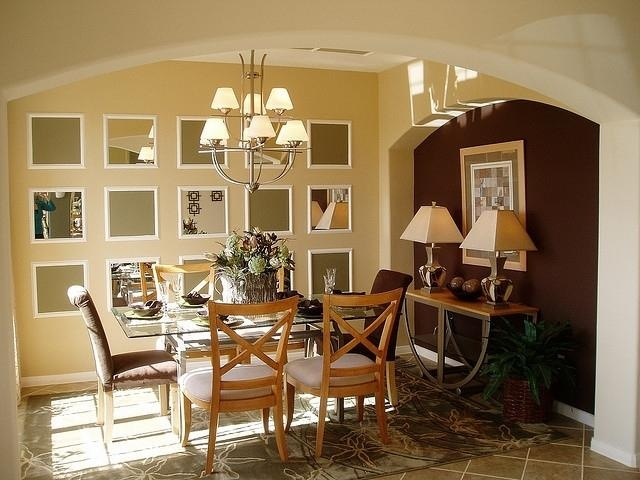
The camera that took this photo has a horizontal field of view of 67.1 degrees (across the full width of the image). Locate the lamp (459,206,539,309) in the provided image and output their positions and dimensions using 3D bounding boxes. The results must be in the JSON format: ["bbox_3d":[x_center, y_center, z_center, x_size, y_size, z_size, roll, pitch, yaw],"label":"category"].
[{"bbox_3d":[1.604,0.137,4.328,0.544,0.811,0.475,-2,6,-14],"label":"lamp"}]

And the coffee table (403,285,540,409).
[{"bbox_3d":[1.373,1.014,4.702,0.520,0.845,1.311,0,1,-21],"label":"coffee table"}]

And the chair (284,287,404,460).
[{"bbox_3d":[0.135,0.933,3.687,0.741,1.165,0.833,1,-2,-17],"label":"chair"}]

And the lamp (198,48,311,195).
[{"bbox_3d":[-0.522,-0.923,3.769,0.792,1.043,0.771,1,5,17],"label":"lamp"}]

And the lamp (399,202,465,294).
[{"bbox_3d":[1.154,0.087,5.034,0.700,0.868,0.731,2,1,32],"label":"lamp"}]

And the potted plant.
[{"bbox_3d":[1.709,1.062,4.140,0.799,0.704,0.779,1,3,-21],"label":"potted plant"}]

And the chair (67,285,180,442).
[{"bbox_3d":[-1.466,0.934,3.651,0.715,1.187,0.377,-3,6,-24],"label":"chair"}]
